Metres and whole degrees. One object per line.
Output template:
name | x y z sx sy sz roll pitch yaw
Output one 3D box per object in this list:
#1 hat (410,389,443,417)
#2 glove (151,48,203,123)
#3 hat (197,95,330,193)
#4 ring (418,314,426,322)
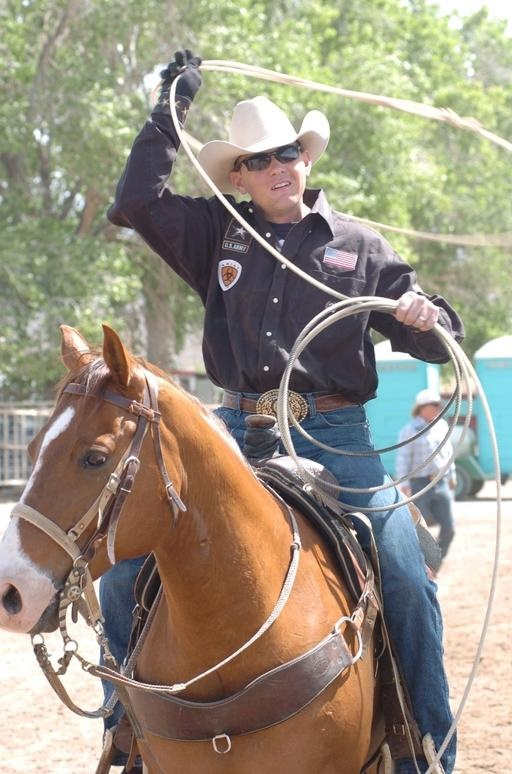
hat | 1.549 0.131 10.663 0.266 0.172 0.351 -3 -8 -2
glove | -0.289 -1.098 4.265 0.169 0.288 0.268 -1 1 0
hat | -0.009 -0.930 4.572 0.379 0.158 0.403 -19 -9 -1
ring | 0.539 -0.224 3.834 0.025 0.021 0.006 -3 -13 9
